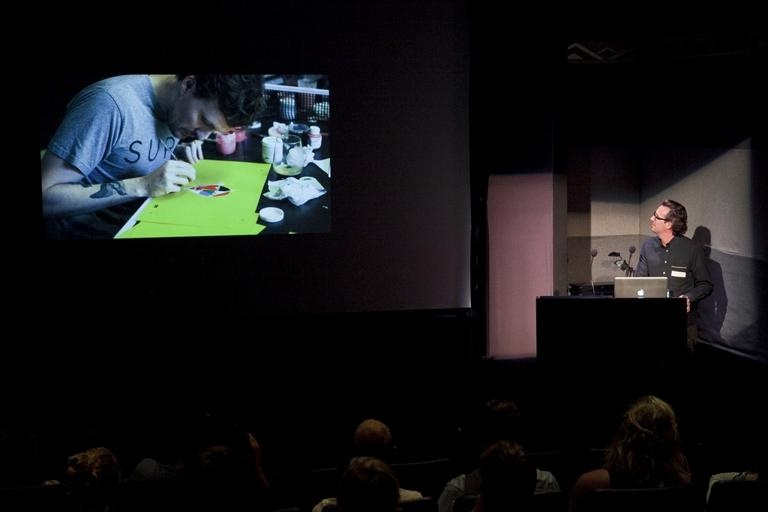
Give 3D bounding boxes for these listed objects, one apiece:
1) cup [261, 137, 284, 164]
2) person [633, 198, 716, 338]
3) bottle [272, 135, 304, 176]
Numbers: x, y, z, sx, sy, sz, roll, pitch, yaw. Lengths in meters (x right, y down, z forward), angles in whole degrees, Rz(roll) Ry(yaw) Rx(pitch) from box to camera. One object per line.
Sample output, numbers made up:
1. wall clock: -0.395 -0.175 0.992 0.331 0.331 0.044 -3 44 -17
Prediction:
1. cup: -1.229 -1.169 6.751 0.291 0.283 0.279 1 8 0
2. person: 2.723 0.109 5.826 0.469 1.269 0.690 -3 5 -39
3. bottle: -1.049 -1.125 6.798 0.429 0.412 0.416 2 4 2
